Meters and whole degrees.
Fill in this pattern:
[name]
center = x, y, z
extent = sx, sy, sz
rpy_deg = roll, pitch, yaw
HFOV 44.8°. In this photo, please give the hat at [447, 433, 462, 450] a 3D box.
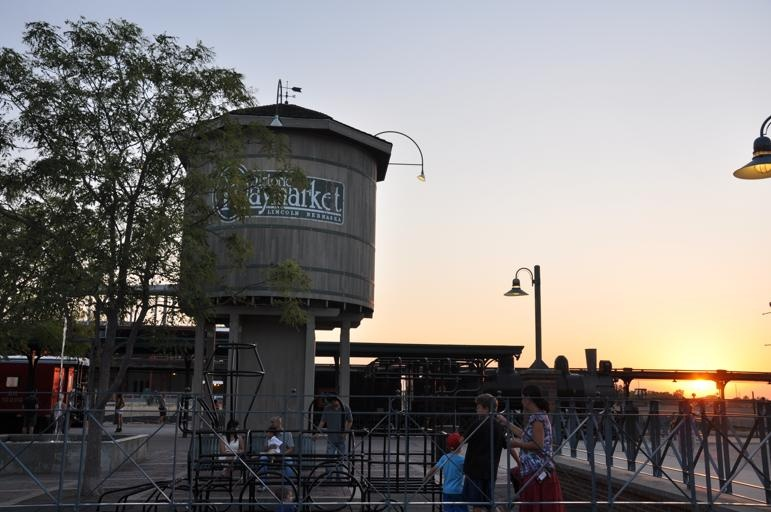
[hat]
center = 1.689, 4.456, 22.785
extent = 0.326, 0.289, 0.472
rpy_deg = 3, 11, 8
